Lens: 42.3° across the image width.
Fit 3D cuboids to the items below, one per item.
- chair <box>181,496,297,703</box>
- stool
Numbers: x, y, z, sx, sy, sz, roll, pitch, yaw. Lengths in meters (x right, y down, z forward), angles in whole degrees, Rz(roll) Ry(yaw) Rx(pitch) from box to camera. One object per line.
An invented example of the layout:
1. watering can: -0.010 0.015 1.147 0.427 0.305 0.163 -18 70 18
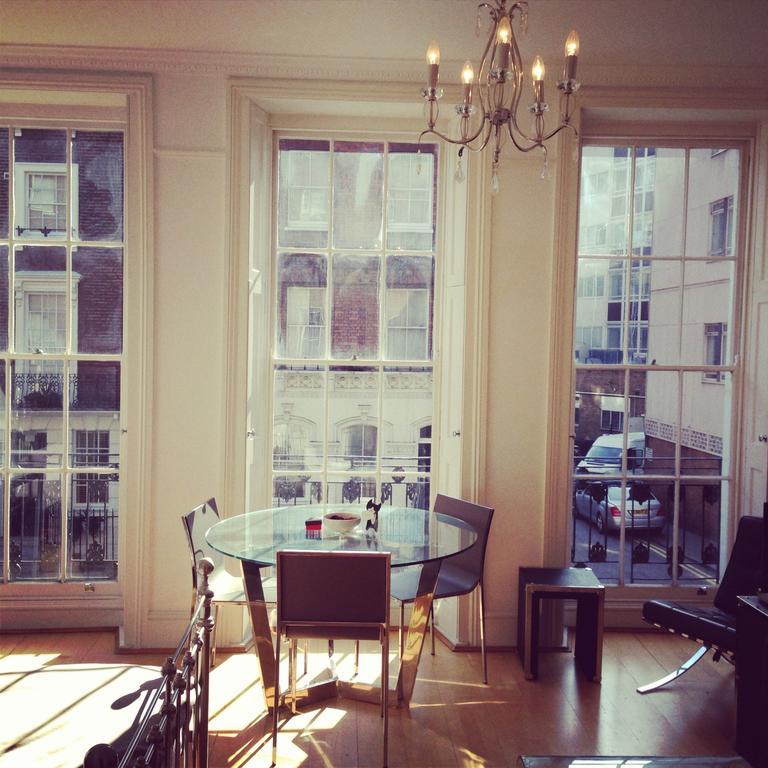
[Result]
1. chair: -0.747 1.067 5.081 0.661 1.228 0.771 0 0 6
2. stool: 0.889 1.223 5.079 0.417 0.506 0.372 1 1 8
